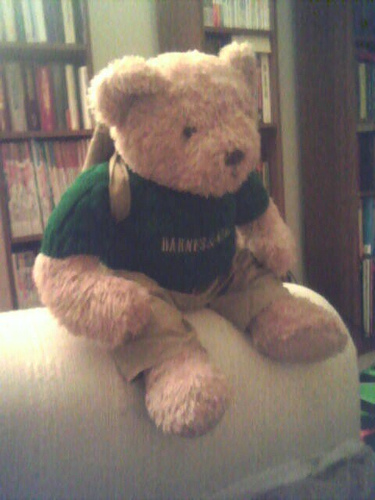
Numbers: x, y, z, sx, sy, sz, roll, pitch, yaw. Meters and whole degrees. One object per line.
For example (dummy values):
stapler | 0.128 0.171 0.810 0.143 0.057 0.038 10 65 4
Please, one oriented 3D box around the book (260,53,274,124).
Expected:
book | 0.111 -0.234 1.279 0.022 0.143 0.009 11 50 17

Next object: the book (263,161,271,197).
book | 0.116 -0.101 1.314 0.005 0.052 0.040 -2 10 15

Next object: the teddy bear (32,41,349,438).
teddy bear | 0.018 -0.040 1.162 0.267 0.403 0.263 -16 38 -18
